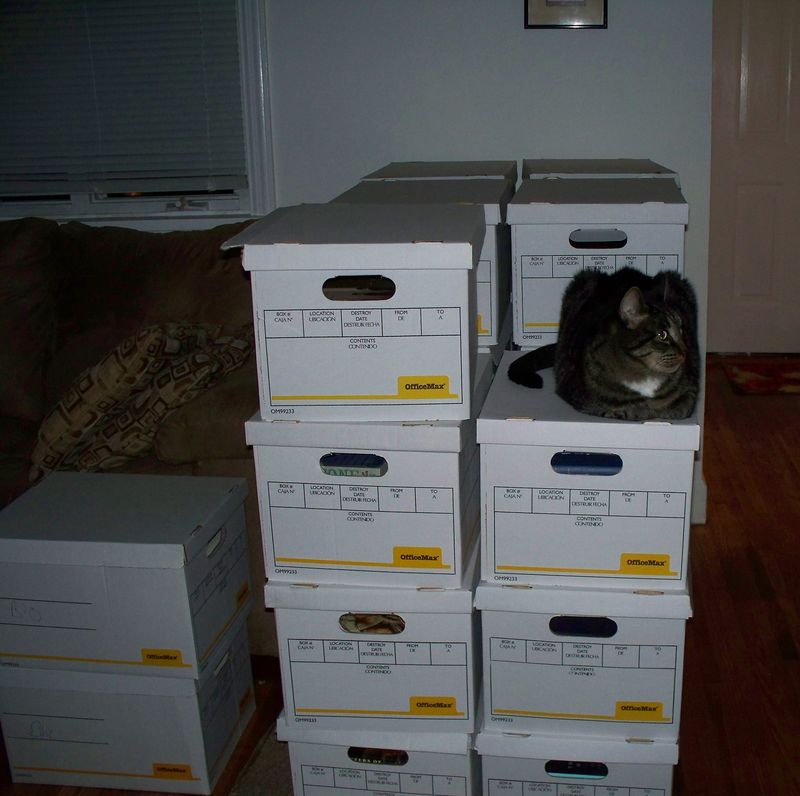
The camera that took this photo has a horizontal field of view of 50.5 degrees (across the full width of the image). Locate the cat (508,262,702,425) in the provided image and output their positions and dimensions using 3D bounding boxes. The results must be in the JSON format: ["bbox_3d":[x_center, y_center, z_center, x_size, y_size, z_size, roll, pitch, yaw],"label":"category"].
[{"bbox_3d":[0.348,-0.090,1.308,0.220,0.197,0.201,5,20,16],"label":"cat"}]

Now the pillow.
[{"bbox_3d":[-0.574,-0.013,1.880,0.461,0.279,0.116,-34,11,0],"label":"pillow"}]
